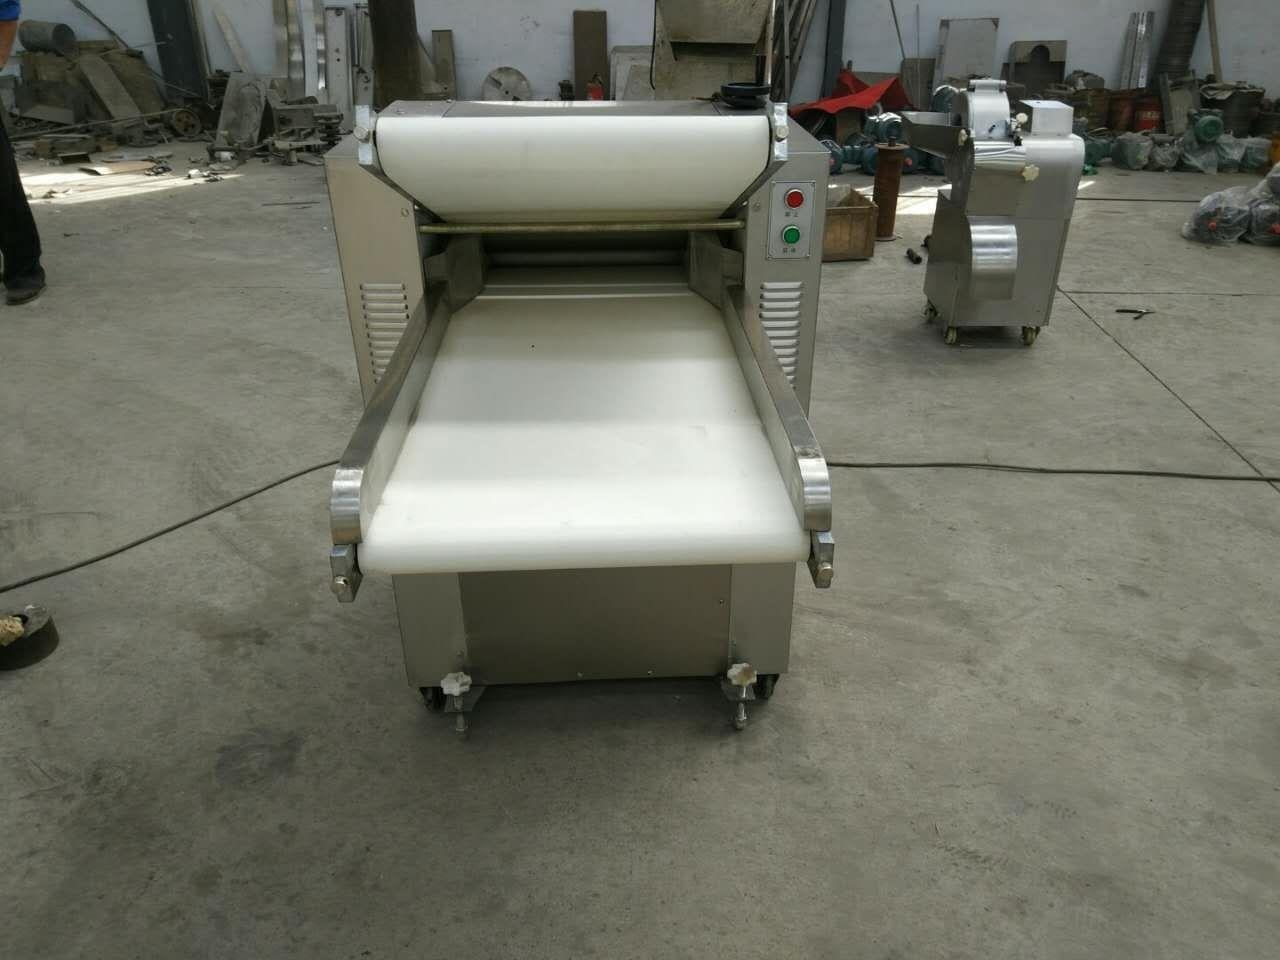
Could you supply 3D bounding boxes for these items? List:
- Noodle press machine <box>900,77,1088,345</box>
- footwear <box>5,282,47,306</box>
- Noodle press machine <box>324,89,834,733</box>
[{"bbox_3d":[1.690,-1.299,4.523,0.746,1.149,0.781,-1,27,8],"label":"Noodle press machine"},{"bbox_3d":[-3.181,-0.986,4.833,0.085,0.106,0.260,-2,22,-8],"label":"footwear"},{"bbox_3d":[-0.127,-0.147,2.428,1.288,1.556,1.164,0,26,-2],"label":"Noodle press machine"}]
